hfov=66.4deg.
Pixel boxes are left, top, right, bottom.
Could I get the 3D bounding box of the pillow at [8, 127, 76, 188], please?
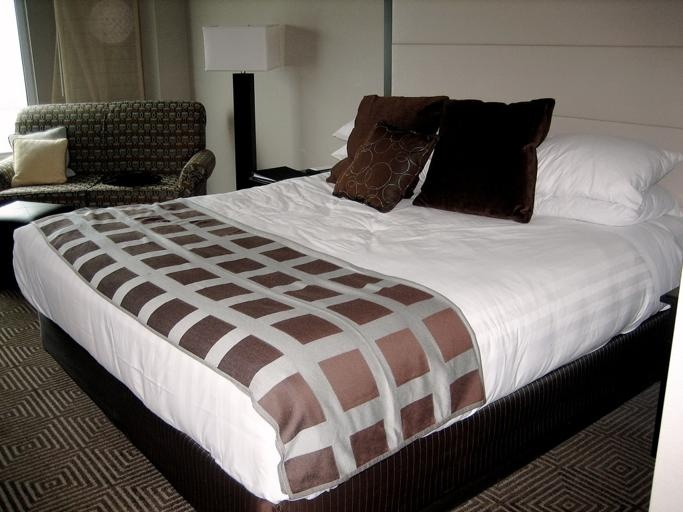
[{"bbox_3d":[-2.596,-0.850,4.513,0.512,0.203,0.540,-12,57,-12],"label":"pillow"}]
